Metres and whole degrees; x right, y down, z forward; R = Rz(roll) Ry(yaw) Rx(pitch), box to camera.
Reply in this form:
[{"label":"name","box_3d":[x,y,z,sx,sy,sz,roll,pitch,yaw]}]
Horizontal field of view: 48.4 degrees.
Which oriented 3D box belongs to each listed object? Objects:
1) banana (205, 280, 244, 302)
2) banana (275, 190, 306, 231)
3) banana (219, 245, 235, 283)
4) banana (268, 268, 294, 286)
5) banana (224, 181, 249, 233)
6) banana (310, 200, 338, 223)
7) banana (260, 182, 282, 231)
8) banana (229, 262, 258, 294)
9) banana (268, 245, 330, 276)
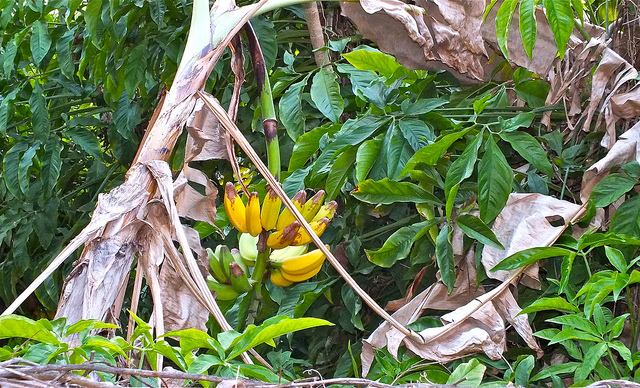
[{"label":"banana","box_3d":[-0.244,0.246,1.832,0.105,0.026,0.042,26,14,-20]},{"label":"banana","box_3d":[-0.084,0.053,1.827,0.044,0.141,0.045,18,24,-30]},{"label":"banana","box_3d":[-0.237,0.182,1.883,0.030,0.102,0.032,-22,30,-35]},{"label":"banana","box_3d":[-0.099,0.215,1.862,0.028,0.023,0.051,-13,31,-26]},{"label":"banana","box_3d":[-0.210,0.035,1.788,0.037,0.143,0.048,-13,8,3]},{"label":"banana","box_3d":[0.016,0.038,1.880,0.029,0.033,0.096,43,50,-2]},{"label":"banana","box_3d":[-0.124,0.032,1.779,0.050,0.164,0.058,-17,55,-23]},{"label":"banana","box_3d":[-0.199,0.220,1.856,0.039,0.075,0.023,-34,61,-10]},{"label":"banana","box_3d":[-0.046,0.183,1.855,0.143,0.060,0.043,-18,2,25]}]
